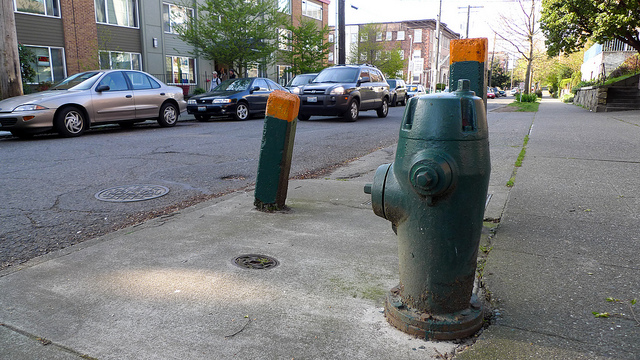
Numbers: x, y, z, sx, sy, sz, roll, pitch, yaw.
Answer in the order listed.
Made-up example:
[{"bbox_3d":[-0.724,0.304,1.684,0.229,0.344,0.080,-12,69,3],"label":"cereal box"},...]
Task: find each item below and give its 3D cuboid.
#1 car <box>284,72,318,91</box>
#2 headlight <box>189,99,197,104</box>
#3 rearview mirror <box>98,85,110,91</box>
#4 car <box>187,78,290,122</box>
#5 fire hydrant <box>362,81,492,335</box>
[{"bbox_3d":[-0.997,-5.231,19.867,1.297,1.041,2.186,2,13,17],"label":"car"},{"bbox_3d":[-5.499,-3.473,17.077,0.243,0.150,0.235,2,9,15],"label":"headlight"},{"bbox_3d":[-6.902,-3.033,12.606,0.333,0.187,0.208,-9,18,-27],"label":"rearview mirror"},{"bbox_3d":[-3.886,-3.764,17.702,3.524,1.822,1.818,-15,22,-42],"label":"car"},{"bbox_3d":[0.984,0.311,3.438,1.006,2.087,0.730,1,17,6],"label":"fire hydrant"}]
